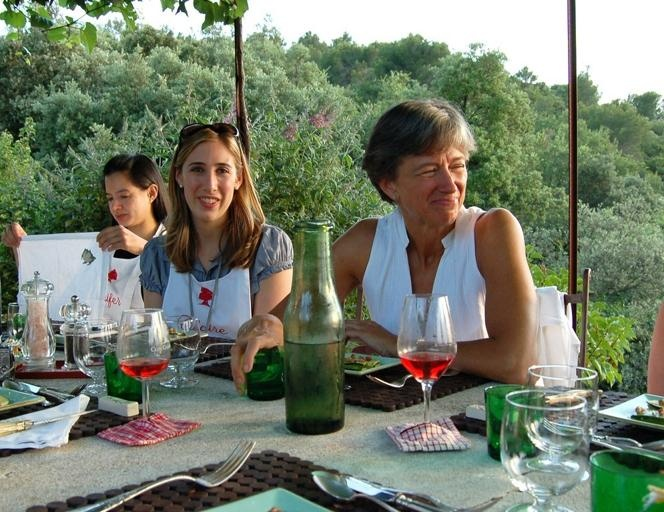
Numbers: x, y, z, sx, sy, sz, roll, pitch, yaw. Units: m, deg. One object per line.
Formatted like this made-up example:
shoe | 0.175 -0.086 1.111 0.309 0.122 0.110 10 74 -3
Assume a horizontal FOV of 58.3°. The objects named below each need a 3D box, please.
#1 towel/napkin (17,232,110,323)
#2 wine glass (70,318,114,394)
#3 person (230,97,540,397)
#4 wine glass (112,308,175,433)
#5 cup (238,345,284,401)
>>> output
towel/napkin | -1.499 0.111 3.353 0.522 0.519 0.061 -3 -18 0
wine glass | -0.747 0.318 1.889 0.137 0.224 0.139 2 11 36
person | 0.269 -0.027 2.615 1.220 1.194 0.774 -1 11 21
wine glass | -0.507 0.317 1.616 0.144 0.346 0.132 -1 14 -15
cup | -0.186 0.345 1.768 0.146 0.163 0.150 0 3 0
